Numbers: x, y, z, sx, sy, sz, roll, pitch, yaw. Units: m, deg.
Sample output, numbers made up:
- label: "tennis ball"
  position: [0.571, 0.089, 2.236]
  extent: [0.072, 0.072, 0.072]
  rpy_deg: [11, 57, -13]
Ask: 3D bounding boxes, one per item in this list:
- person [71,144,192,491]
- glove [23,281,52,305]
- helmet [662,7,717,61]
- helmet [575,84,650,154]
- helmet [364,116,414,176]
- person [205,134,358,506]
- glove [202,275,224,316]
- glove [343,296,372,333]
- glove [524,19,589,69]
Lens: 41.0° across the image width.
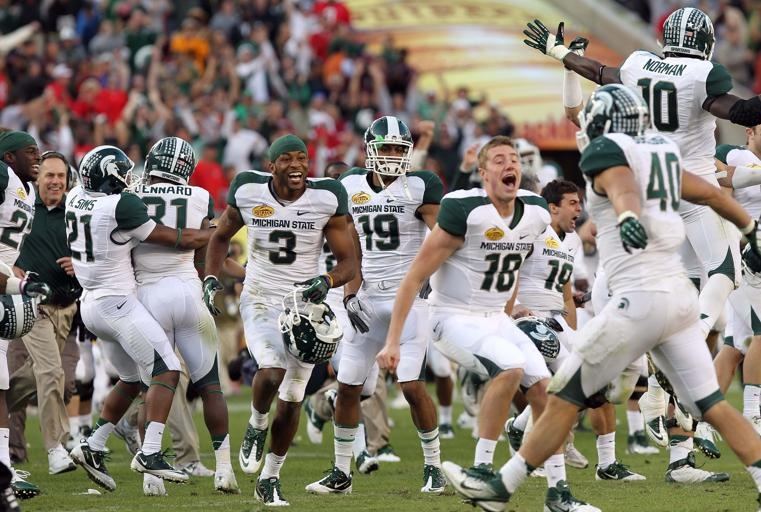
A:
- label: "person"
  position: [-2.295, 0.600, 9.253]
  extent: [1.228, 3.187, 0.586]
  rpy_deg: [3, 3, 28]
- label: "glove"
  position: [-3.060, 0.325, 9.038]
  extent: [0.211, 0.170, 0.122]
  rpy_deg: [18, 37, 26]
- label: "helmet"
  position: [2.930, -2.132, 9.604]
  extent: [0.389, 0.461, 0.530]
  rpy_deg: [10, 52, 14]
- label: "helmet"
  position: [1.861, -1.099, 8.091]
  extent: [0.485, 0.562, 0.585]
  rpy_deg: [-2, 3, -42]
- label: "helmet"
  position: [0.082, -1.026, 9.653]
  extent: [0.387, 0.492, 0.556]
  rpy_deg: [0, 6, -11]
- label: "person"
  position: [-0.896, 0.519, 8.994]
  extent: [1.330, 3.168, 0.711]
  rpy_deg: [1, 3, -3]
- label: "glove"
  position: [-1.499, 0.360, 9.066]
  extent: [0.166, 0.374, 0.426]
  rpy_deg: [1, 3, -12]
- label: "glove"
  position: [-0.212, 0.527, 9.244]
  extent: [0.103, 0.371, 0.177]
  rpy_deg: [-23, 18, 10]
- label: "glove"
  position: [1.761, -2.118, 10.110]
  extent: [0.686, 0.477, 0.201]
  rpy_deg: [27, 15, 12]
